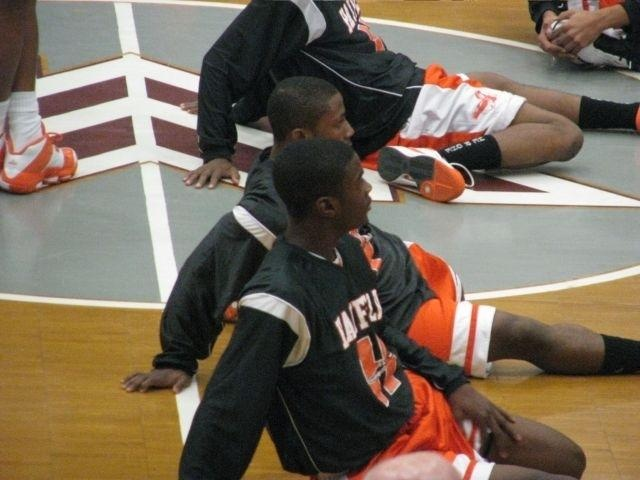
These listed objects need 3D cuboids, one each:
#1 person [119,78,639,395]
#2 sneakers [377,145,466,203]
[{"bbox_3d":[0.329,0.141,2.624,1.578,0.842,1.085,6,41,7],"label":"person"},{"bbox_3d":[0.469,-0.363,3.621,0.542,0.194,0.256,25,25,32],"label":"sneakers"}]
